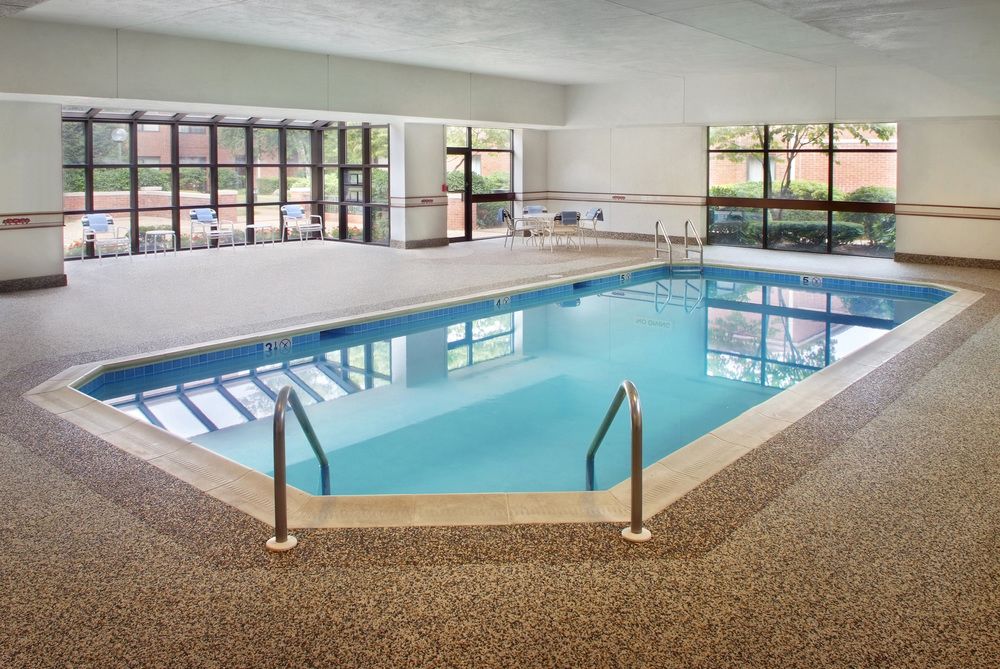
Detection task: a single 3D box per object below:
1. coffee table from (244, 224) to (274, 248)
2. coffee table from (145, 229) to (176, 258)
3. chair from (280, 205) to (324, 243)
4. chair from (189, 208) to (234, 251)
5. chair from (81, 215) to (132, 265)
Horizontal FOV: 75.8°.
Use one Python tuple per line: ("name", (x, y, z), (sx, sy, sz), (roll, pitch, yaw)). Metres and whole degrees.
("coffee table", (-5.947, -2.405, 15.827), (0.587, 0.486, 0.577), (-3, 8, -31))
("coffee table", (-7.684, -2.068, 14.463), (0.711, 0.646, 0.693), (-1, 4, -9))
("chair", (-4.935, -2.792, 16.195), (0.884, 0.947, 1.116), (-8, 12, -41))
("chair", (-6.661, -2.468, 15.085), (0.887, 1.068, 1.027), (-9, 13, -42))
("chair", (-8.060, -1.973, 12.946), (0.531, 0.584, 0.619), (-16, 35, -41))
